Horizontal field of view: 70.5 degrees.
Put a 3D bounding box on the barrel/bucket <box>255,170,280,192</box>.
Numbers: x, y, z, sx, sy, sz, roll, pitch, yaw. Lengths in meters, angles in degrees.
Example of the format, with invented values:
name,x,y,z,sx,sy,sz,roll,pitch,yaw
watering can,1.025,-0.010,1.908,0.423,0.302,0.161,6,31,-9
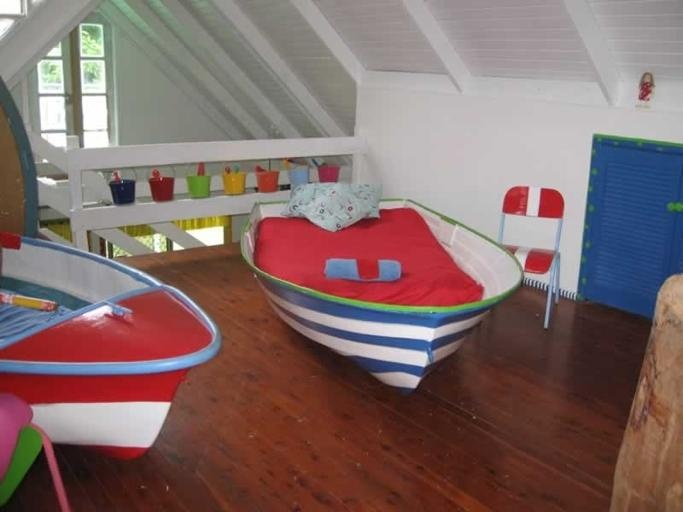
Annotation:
name,x,y,z,sx,sy,sz,roll,pitch,yaw
barrel/bucket,-0.672,-0.669,4.336,0.183,0.146,0.192,-1,15,0

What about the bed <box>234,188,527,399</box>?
name,x,y,z,sx,sy,sz,roll,pitch,yaw
bed,0.172,0.229,2.945,1.492,0.765,1.971,0,20,-10

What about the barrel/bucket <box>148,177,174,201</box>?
name,x,y,z,sx,sy,sz,roll,pitch,yaw
barrel/bucket,-1.452,-0.539,3.885,0.169,0.154,0.198,0,16,-3

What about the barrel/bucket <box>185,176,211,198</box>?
name,x,y,z,sx,sy,sz,roll,pitch,yaw
barrel/bucket,-1.204,-0.586,4.062,0.165,0.157,0.192,-2,9,-6

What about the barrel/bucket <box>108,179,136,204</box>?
name,x,y,z,sx,sy,sz,roll,pitch,yaw
barrel/bucket,-1.681,-0.491,3.725,0.170,0.157,0.195,-6,17,-24

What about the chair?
name,x,y,z,sx,sy,sz,roll,pitch,yaw
chair,1.203,-0.006,3.202,0.580,0.833,0.519,-21,27,-37

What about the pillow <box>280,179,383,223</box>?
name,x,y,z,sx,sy,sz,roll,pitch,yaw
pillow,-0.081,-0.357,3.228,0.397,0.146,0.383,13,44,24

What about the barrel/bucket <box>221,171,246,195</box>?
name,x,y,z,sx,sy,sz,roll,pitch,yaw
barrel/bucket,-0.930,-0.630,4.171,0.185,0.153,0.192,-1,12,0

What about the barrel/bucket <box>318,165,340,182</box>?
name,x,y,z,sx,sy,sz,roll,pitch,yaw
barrel/bucket,-0.129,-0.776,4.588,0.175,0.164,0.211,-2,30,-1
